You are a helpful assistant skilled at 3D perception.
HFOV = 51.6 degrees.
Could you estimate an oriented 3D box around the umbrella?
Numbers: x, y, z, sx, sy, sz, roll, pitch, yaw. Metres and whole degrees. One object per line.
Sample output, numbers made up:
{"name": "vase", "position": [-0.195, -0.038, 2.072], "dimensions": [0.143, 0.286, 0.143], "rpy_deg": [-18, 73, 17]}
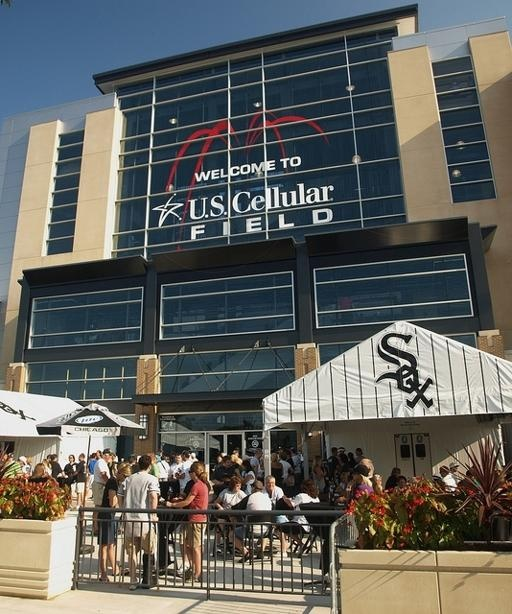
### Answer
{"name": "umbrella", "position": [-5.016, 4.313, 15.809], "dimensions": [3.432, 3.042, 3.068], "rpy_deg": [-3, -11, 11]}
